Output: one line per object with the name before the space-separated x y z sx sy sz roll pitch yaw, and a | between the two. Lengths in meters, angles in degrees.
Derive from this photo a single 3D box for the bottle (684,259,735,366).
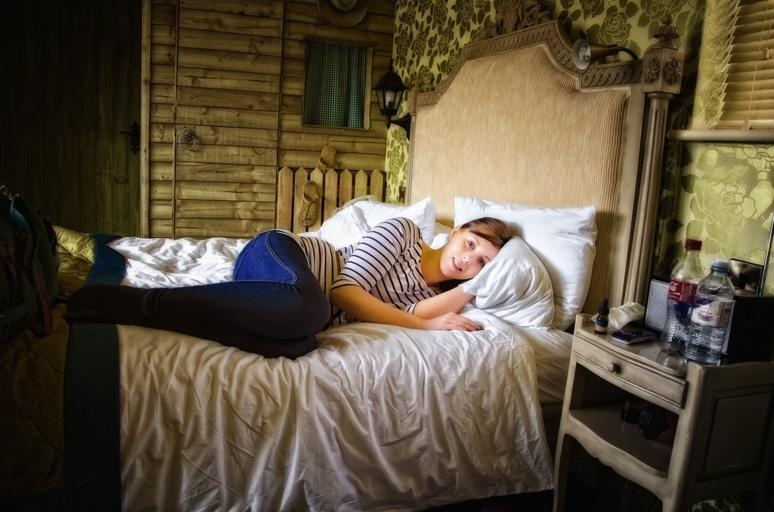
bottle | 1.183 0.205 1.968 0.136 0.377 0.159 7 9 28
